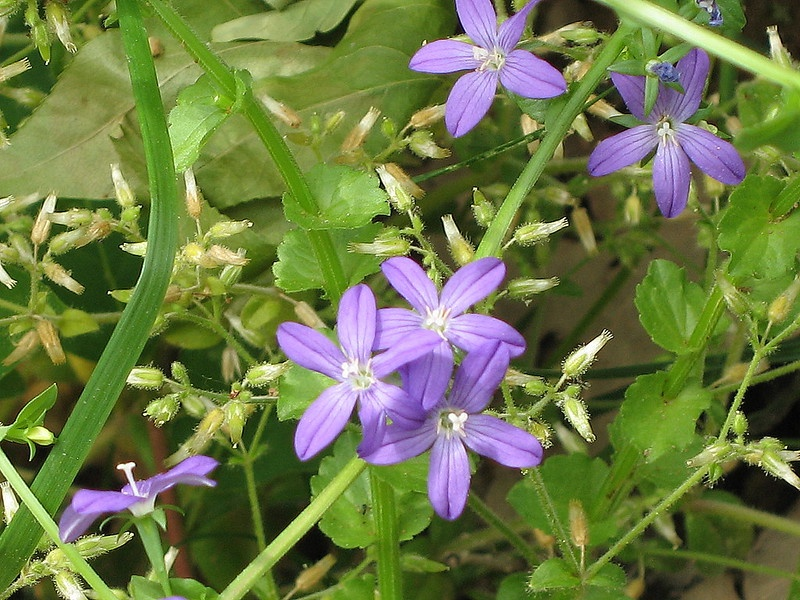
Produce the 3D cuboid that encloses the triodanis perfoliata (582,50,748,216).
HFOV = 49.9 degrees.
[{"bbox_3d":[0.383,-0.245,1.270,0.227,0.212,0.157,-8,48,1],"label":"triodanis perfoliata"}]

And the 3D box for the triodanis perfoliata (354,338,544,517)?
[{"bbox_3d":[0.072,0.166,1.180,0.208,0.089,0.276,10,51,6],"label":"triodanis perfoliata"}]

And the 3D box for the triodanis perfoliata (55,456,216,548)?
[{"bbox_3d":[-0.371,0.264,1.167,0.201,0.081,0.166,-4,8,33],"label":"triodanis perfoliata"}]

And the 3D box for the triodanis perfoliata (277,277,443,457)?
[{"bbox_3d":[-0.058,0.102,1.149,0.213,0.089,0.245,11,50,16],"label":"triodanis perfoliata"}]
